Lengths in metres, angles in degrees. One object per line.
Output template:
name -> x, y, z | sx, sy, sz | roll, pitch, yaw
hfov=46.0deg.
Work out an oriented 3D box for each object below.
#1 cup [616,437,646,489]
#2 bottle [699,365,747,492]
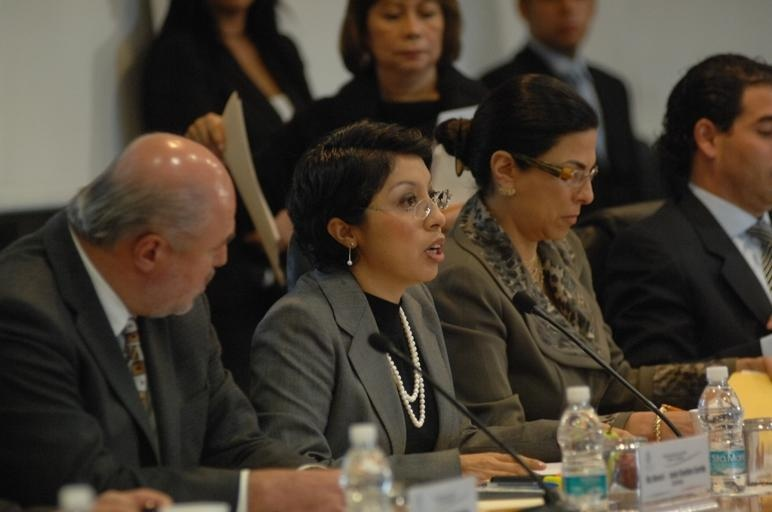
cup -> 0.719, 0.618, 2.720 | 0.115, 0.112, 0.116 | -1, -13, 0
bottle -> 1.163, 0.551, 3.164 | 0.153, 0.370, 0.638 | -7, 7, 20
